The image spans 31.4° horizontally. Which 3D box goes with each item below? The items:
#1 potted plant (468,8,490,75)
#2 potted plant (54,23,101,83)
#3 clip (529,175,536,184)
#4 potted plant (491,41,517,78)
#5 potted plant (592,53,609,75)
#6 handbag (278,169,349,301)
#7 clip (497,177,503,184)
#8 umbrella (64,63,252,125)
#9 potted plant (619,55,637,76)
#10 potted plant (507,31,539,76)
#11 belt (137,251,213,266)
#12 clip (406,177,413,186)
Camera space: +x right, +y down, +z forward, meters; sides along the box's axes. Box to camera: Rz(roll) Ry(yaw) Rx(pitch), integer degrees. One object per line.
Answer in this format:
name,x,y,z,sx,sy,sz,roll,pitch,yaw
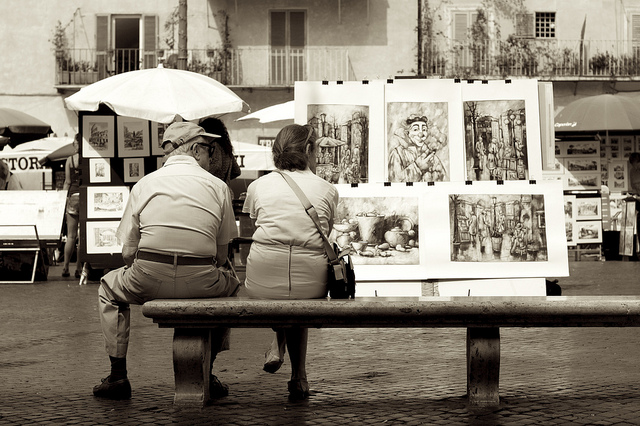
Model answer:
potted plant,5.142,-5.575,36.863,0.682,2.097,0.349,1,10,4
potted plant,-7.924,-5.336,37.409,2.101,2.066,1.939,5,7,-5
clip,3.187,-0.500,16.981,0.133,0.163,0.094,2,6,2
potted plant,5.970,-4.987,36.829,0.858,1.098,0.323,6,5,17
potted plant,9.058,-4.834,36.845,0.513,0.637,0.228,1,10,8
handbag,0.069,0.381,15.080,0.643,1.549,0.546,1,44,4
clip,2.665,-0.477,16.963,0.146,0.128,0.075,0,2,2
umbrella,-3.136,-2.271,22.131,2.180,0.670,2.100,-2,5,11
potted plant,9.966,-4.789,36.919,0.639,0.761,0.650,1,2,11
potted plant,6.585,-5.085,36.893,0.480,1.217,1.282,-15,19,-27
belt,-1.900,0.593,14.879,0.942,0.192,0.105,0,9,-3
clip,1.323,-0.474,16.937,0.093,0.105,0.204,1,9,4
